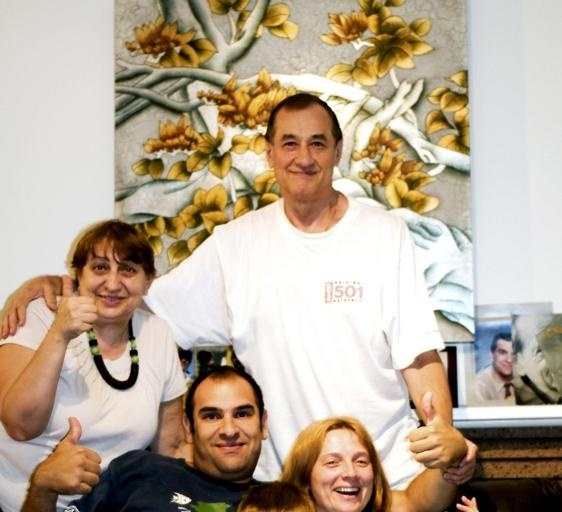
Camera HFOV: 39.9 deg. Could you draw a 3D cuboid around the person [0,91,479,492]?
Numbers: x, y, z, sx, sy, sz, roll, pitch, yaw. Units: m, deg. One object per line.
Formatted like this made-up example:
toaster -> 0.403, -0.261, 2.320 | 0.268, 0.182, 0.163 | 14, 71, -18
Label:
person -> -0.100, 0.117, 2.506 | 1.446, 1.902, 0.634 | -3, 6, 8
